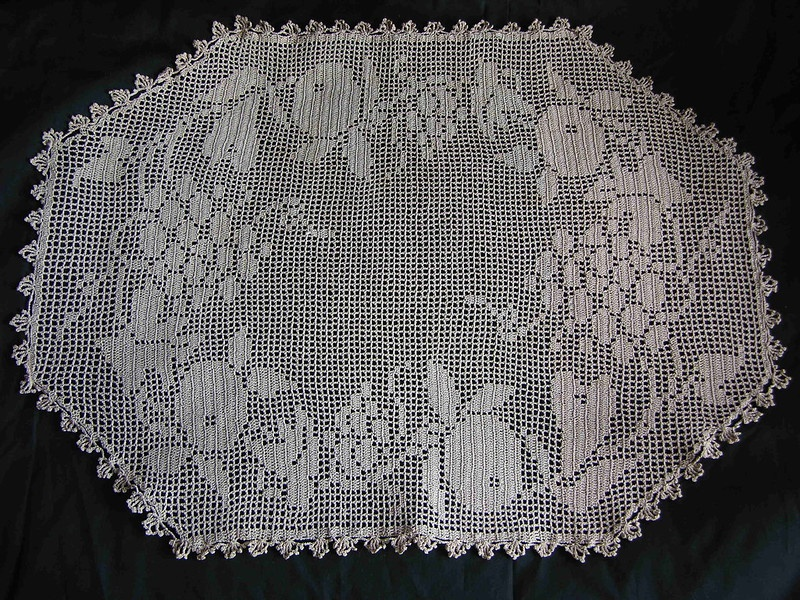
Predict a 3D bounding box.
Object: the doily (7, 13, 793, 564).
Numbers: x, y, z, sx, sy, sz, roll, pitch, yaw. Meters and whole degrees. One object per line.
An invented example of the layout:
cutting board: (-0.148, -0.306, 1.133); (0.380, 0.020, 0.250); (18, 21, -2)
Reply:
doily: (0.007, 0.023, 2.464); (1.178, 0.013, 0.797); (3, 84, 3)
